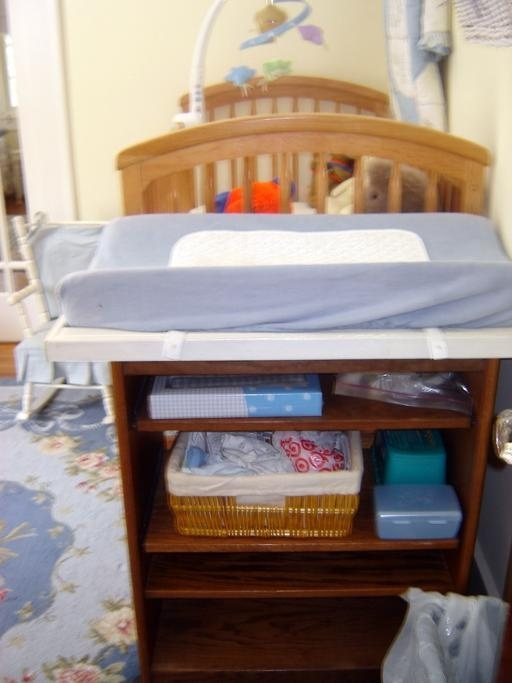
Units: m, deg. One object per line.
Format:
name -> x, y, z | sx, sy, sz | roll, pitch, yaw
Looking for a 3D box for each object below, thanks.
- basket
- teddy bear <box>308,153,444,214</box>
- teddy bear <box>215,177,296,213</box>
basket -> 0.025, 0.241, 1.022 | 0.292, 0.107, 0.201 | 1, 21, 1
teddy bear -> 0.335, -0.456, 1.595 | 0.296, 0.119, 0.370 | 7, -11, 4
teddy bear -> -0.011, -0.491, 1.988 | 0.305, 0.111, 0.230 | -11, 13, -44
